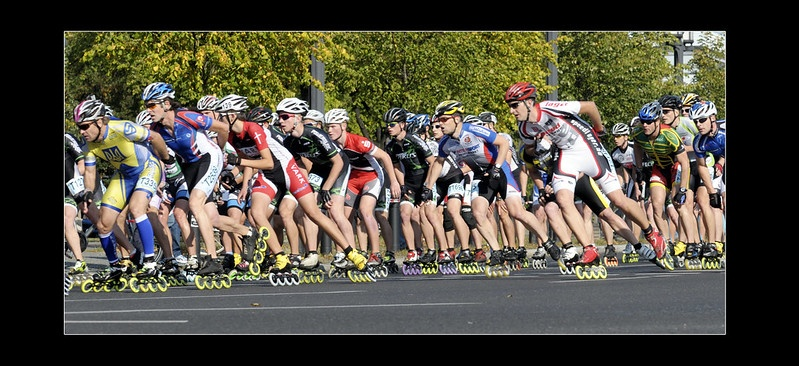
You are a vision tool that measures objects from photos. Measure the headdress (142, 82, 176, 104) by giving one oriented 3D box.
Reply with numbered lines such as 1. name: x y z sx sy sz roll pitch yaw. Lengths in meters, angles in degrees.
1. headdress: -4.475 -1.671 15.327 0.392 0.240 0.538 12 19 39

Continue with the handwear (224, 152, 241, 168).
1. handwear: -3.109 -0.443 15.350 0.260 0.184 0.423 -5 -3 9
